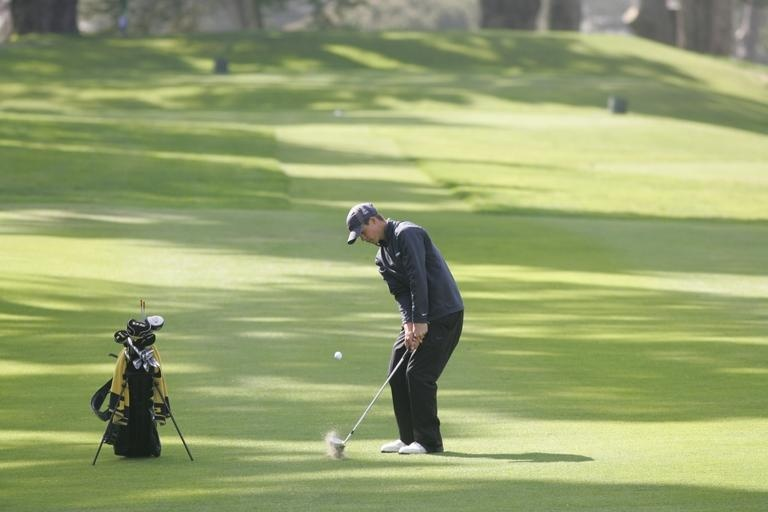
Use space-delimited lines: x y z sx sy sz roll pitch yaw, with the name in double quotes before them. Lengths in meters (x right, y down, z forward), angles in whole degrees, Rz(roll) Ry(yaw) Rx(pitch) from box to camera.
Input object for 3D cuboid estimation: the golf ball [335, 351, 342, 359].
"golf ball" -0.874 1.919 43.876 0.184 0.113 0.173 -1 2 0
